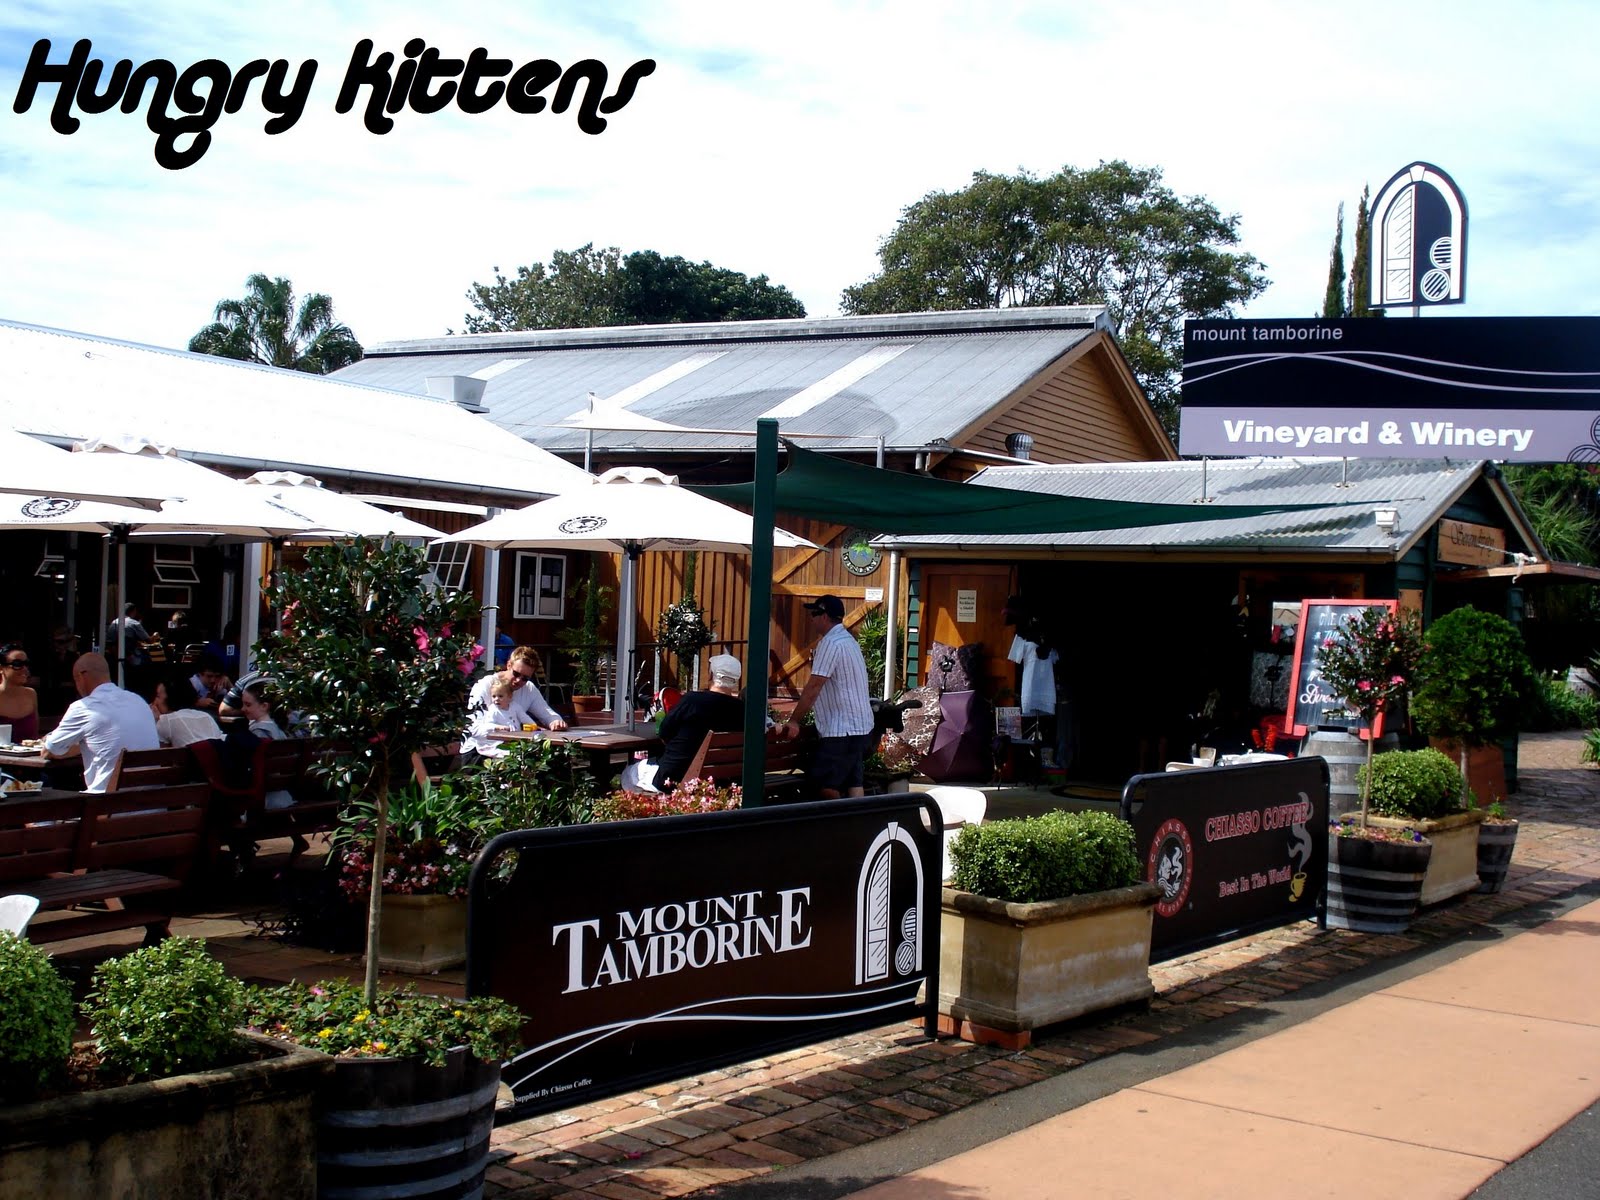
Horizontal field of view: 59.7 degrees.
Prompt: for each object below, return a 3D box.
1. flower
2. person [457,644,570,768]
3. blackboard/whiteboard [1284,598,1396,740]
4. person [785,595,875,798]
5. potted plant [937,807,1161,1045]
[{"bbox_3d":[4.535,0.858,10.907,0.803,1.750,0.738,4,-15,13],"label":"flower"},{"bbox_3d":[-2.143,0.778,10.153,0.794,1.154,0.823,2,1,-1],"label":"person"},{"bbox_3d":[5.467,0.678,13.916,0.991,1.429,1.033,5,9,40],"label":"blackboard/whiteboard"},{"bbox_3d":[0.204,0.722,10.955,0.612,1.528,0.682,1,5,-39],"label":"person"},{"bbox_3d":[1.363,1.726,7.705,1.309,1.165,0.735,3,0,-39],"label":"potted plant"}]
